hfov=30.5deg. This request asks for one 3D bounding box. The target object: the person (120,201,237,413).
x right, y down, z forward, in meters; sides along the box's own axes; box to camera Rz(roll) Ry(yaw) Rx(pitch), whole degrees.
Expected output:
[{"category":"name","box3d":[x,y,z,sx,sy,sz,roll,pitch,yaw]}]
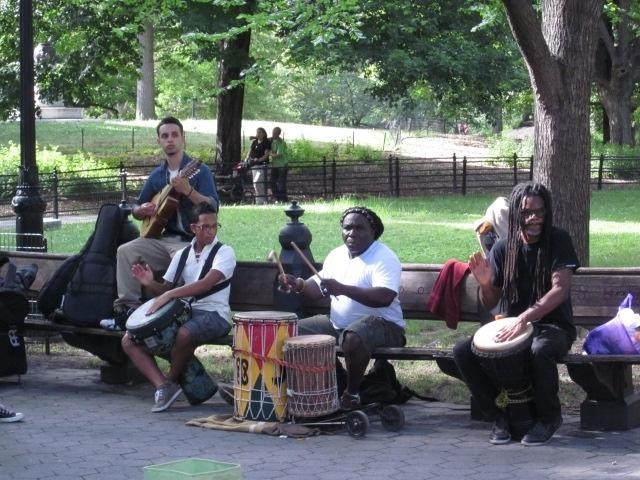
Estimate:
[{"category":"person","box3d":[-1.449,0.696,12.191,1.024,2.092,1.137,-1,-2,33]}]

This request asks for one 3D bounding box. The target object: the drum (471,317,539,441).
[{"category":"drum","box3d":[1.734,1.356,11.026,0.562,1.095,0.264,2,11,12]}]

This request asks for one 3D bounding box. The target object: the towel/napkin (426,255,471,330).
[{"category":"towel/napkin","box3d":[1.323,0.538,12.018,0.511,0.634,0.276,8,-1,32]}]

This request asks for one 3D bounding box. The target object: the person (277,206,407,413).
[{"category":"person","box3d":[0.293,0.697,11.935,0.945,2.081,1.161,0,0,36]}]

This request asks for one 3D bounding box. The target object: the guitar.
[{"category":"guitar","box3d":[-1.578,-0.417,12.676,0.166,1.196,0.490,30,12,-23]}]

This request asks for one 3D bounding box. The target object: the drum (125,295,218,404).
[{"category":"drum","box3d":[-1.497,1.255,12.188,0.741,1.191,0.843,-32,29,-34]}]

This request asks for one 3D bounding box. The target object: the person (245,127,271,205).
[{"category":"person","box3d":[-1.474,-1.686,27.499,0.649,1.804,0.607,-11,17,-34]}]

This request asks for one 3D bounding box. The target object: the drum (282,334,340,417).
[{"category":"drum","box3d":[-0.080,1.348,11.361,0.504,0.734,0.194,-2,11,-4]}]
